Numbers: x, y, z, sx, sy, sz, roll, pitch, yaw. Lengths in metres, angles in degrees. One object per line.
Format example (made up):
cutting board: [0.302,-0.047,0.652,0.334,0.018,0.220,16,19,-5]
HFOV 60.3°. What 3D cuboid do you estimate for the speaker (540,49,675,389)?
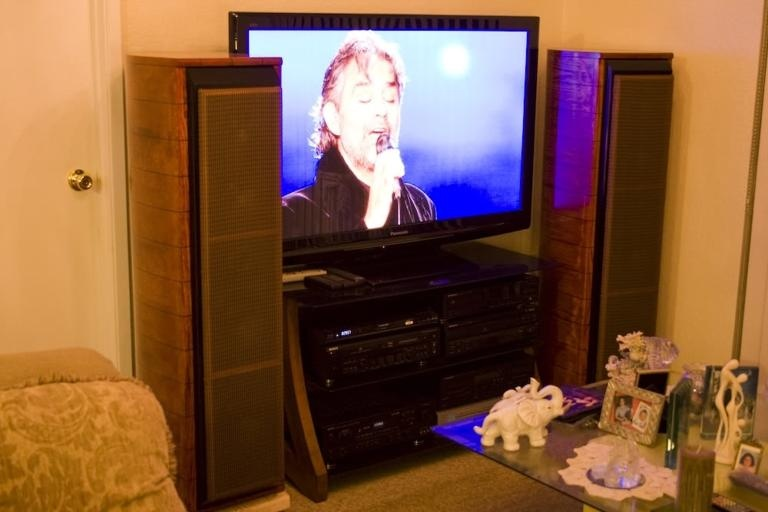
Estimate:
speaker: [1.233,-0.187,3.769,0.664,1.938,0.397,2,14,12]

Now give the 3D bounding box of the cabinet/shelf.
cabinet/shelf: [0.153,0.568,3.624,1.597,0.903,0.617,-7,12,-32]

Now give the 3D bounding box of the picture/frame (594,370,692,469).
picture/frame: [0.954,0.611,2.435,0.161,0.204,0.305,-5,13,-39]
